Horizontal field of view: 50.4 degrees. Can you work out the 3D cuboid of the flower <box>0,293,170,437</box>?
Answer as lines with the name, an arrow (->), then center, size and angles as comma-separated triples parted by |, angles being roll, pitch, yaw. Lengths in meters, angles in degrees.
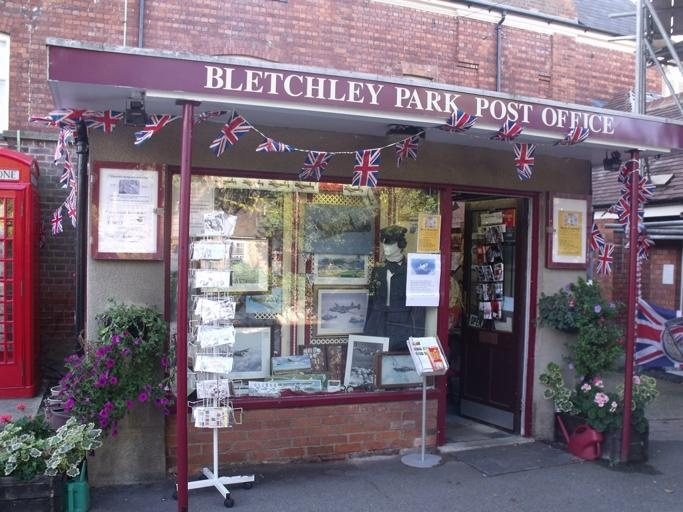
flower -> -2.580, 1.250, 8.253 | 1.350, 1.012, 1.395 | 2, -17, -19

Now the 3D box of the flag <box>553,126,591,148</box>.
flag -> 2.682, -1.363, 8.424 | 0.305, 0.116, 0.201 | -31, -6, 32

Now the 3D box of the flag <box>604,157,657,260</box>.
flag -> 4.267, -0.651, 10.506 | 0.575, 1.585, 3.904 | 7, 11, 23

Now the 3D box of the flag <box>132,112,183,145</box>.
flag -> -1.979, -1.358, 7.794 | 0.432, 0.316, 0.654 | 1, 11, -12

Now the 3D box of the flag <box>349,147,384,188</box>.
flag -> 0.271, -1.035, 8.324 | 0.445, 0.639, 0.042 | 3, 11, 9

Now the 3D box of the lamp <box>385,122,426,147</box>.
lamp -> 0.727, -1.443, 8.596 | 0.357, 0.209, 0.484 | -3, 12, -31

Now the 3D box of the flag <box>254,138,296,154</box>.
flag -> -0.722, -1.176, 7.807 | 0.419, 0.166, 0.232 | -2, 14, 5

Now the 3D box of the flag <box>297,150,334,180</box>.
flag -> -0.308, -1.016, 8.243 | 0.328, 0.340, 0.487 | 2, 11, -5

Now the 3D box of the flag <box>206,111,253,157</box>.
flag -> -1.164, -1.394, 7.746 | 0.480, 0.036, 0.571 | 9, 32, -23

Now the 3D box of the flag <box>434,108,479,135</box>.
flag -> 1.289, -1.501, 8.013 | 0.345, 0.234, 0.126 | 2, 10, -5

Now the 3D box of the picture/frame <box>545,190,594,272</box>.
picture/frame -> 3.011, -0.318, 9.579 | 0.717, 0.983, 0.221 | -1, 10, -19

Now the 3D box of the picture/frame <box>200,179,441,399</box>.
picture/frame -> -0.372, 0.424, 8.691 | 2.493, 2.276, 0.111 | 0, 2, -20

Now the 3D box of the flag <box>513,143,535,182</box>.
flag -> 2.122, -1.095, 8.401 | 0.240, 0.498, 0.052 | 1, 34, 17

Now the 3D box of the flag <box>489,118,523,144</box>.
flag -> 1.911, -1.453, 8.315 | 0.331, 0.249, 0.399 | 4, 11, 6

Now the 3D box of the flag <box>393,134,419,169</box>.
flag -> 0.757, -1.271, 8.700 | 0.319, 0.356, 0.037 | -17, 39, -7

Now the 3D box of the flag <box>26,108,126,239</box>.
flag -> -3.306, -0.979, 8.964 | 1.606, 1.705, 0.796 | -11, 26, -40

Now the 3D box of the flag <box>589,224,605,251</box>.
flag -> 3.417, -0.216, 9.645 | 0.185, 0.321, 0.450 | 6, 11, 19
